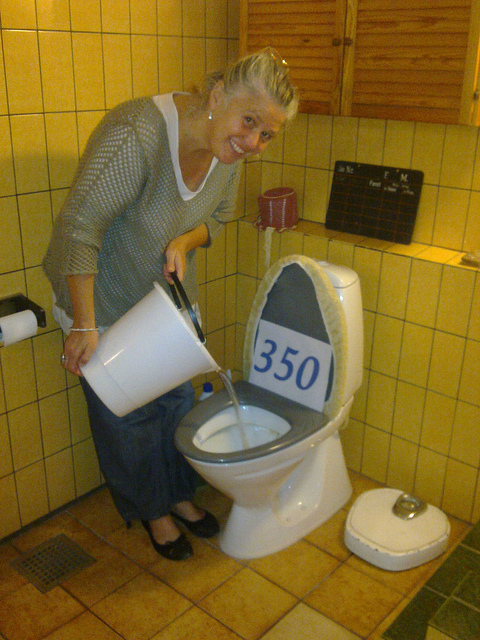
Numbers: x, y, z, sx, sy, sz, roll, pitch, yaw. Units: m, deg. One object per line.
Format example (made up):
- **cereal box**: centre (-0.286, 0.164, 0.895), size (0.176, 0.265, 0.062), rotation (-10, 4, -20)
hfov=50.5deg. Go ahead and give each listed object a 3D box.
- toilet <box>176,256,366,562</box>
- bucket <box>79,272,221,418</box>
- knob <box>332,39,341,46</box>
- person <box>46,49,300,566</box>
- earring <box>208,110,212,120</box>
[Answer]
- **toilet**: centre (0.089, 0.275, 1.539), size (0.367, 0.822, 0.658), rotation (14, 25, 37)
- **bucket**: centre (-0.160, 0.110, 1.139), size (0.236, 0.259, 0.225), rotation (-22, -4, -2)
- **knob**: centre (0.259, -0.751, 1.379), size (0.007, 0.015, 0.028), rotation (-12, 29, -33)
- **person**: centre (-0.211, 0.085, 1.301), size (0.501, 1.394, 0.407), rotation (-4, 25, -20)
- **earring**: centre (-0.057, -0.399, 0.990), size (0.001, 0.017, 0.009), rotation (-14, 30, -36)
